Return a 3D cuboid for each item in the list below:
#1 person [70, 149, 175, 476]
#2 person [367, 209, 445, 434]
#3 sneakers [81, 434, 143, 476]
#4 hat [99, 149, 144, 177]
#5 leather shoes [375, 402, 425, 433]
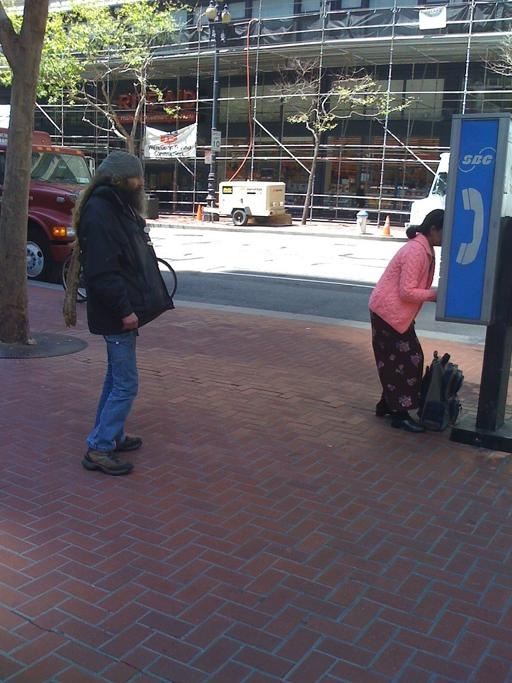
[{"bbox_3d":[-0.769,-0.142,3.481,0.557,1.886,0.363,-4,14,-34],"label":"person"},{"bbox_3d":[1.148,-0.148,4.489,0.587,1.680,0.380,14,15,42],"label":"person"},{"bbox_3d":[-0.840,0.719,3.688,0.430,0.260,0.135,1,16,-3],"label":"sneakers"},{"bbox_3d":[-0.757,-1.020,3.376,0.232,0.125,0.152,-3,21,2],"label":"hat"},{"bbox_3d":[1.103,0.607,4.694,0.420,0.157,0.133,5,21,32],"label":"leather shoes"}]
